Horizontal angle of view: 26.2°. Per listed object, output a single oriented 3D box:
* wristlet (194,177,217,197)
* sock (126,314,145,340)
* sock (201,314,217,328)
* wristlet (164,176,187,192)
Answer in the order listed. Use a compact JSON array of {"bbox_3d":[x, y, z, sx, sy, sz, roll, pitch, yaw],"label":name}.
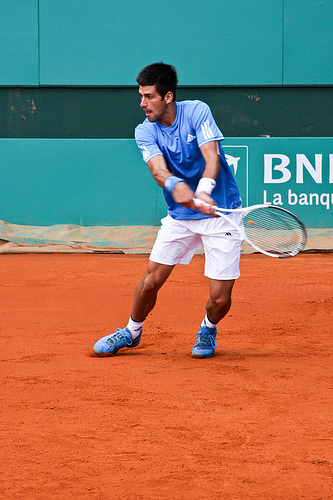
[{"bbox_3d":[0.201,-0.332,3.717,0.081,0.116,0.073,19,-27,23],"label":"wristlet"},{"bbox_3d":[-0.188,0.460,4.203,0.088,0.144,0.107,2,0,-11],"label":"sock"},{"bbox_3d":[0.235,0.418,4.215,0.090,0.074,0.061,2,0,43],"label":"sock"},{"bbox_3d":[0.038,-0.348,3.705,0.086,0.081,0.090,32,-2,38],"label":"wristlet"}]
